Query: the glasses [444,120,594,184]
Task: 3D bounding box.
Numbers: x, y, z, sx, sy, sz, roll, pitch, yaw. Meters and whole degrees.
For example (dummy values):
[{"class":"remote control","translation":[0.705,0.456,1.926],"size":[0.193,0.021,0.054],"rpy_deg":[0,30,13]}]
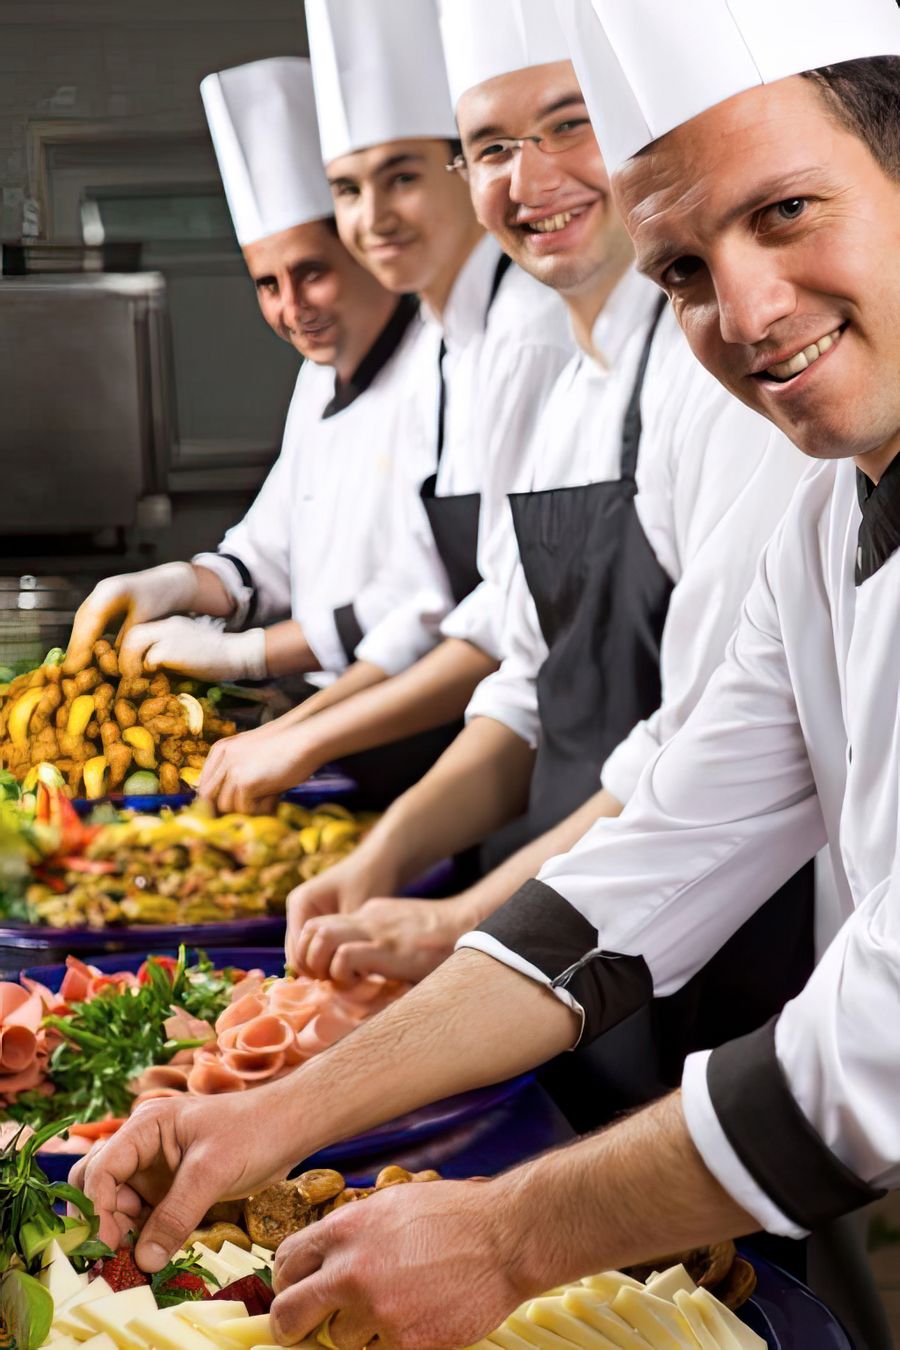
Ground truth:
[{"class":"glasses","translation":[0.082,-0.522,1.249],"size":[0.066,0.018,0.066],"rpy_deg":[-10,1,28]}]
